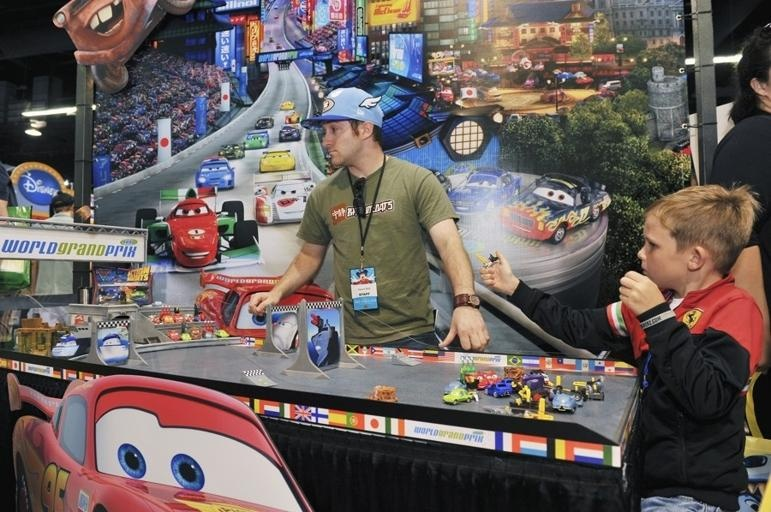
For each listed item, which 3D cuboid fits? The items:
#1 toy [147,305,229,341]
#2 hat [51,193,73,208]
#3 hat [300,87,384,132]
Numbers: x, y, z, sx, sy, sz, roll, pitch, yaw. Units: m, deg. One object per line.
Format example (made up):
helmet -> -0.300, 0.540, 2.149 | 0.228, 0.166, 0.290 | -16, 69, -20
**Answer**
toy -> -1.156, 0.381, 4.257 | 0.426, 0.187, 0.413 | -9, 10, -23
hat -> -2.786, -0.473, 6.386 | 0.125, 0.093, 0.177 | -2, 13, -5
hat -> -0.224, -0.839, 4.310 | 0.370, 0.182, 0.263 | 2, 8, -3
